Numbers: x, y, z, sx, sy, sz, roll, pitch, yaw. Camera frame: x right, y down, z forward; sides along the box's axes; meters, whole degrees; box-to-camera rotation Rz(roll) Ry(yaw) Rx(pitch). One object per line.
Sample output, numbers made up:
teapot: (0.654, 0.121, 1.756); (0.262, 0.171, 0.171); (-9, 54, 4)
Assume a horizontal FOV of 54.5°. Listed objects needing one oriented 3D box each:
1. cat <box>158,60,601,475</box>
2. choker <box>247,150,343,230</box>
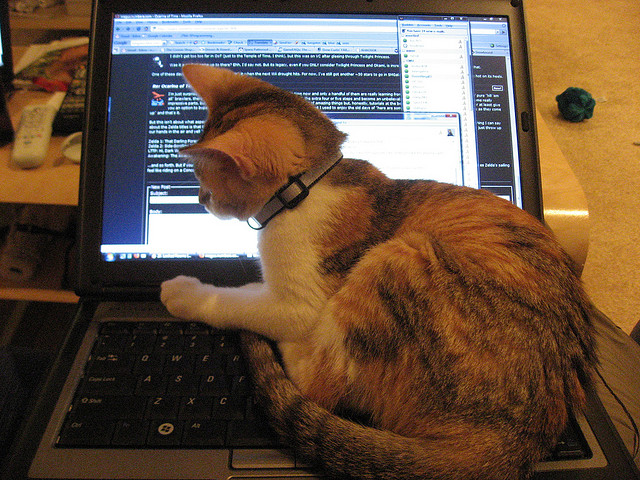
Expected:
cat: (0.069, 0.100, 1.234); (0.840, 0.515, 0.561); (14, 56, 15)
choker: (-0.052, -0.087, 1.214); (0.160, 0.093, 0.038); (-44, 107, 7)
